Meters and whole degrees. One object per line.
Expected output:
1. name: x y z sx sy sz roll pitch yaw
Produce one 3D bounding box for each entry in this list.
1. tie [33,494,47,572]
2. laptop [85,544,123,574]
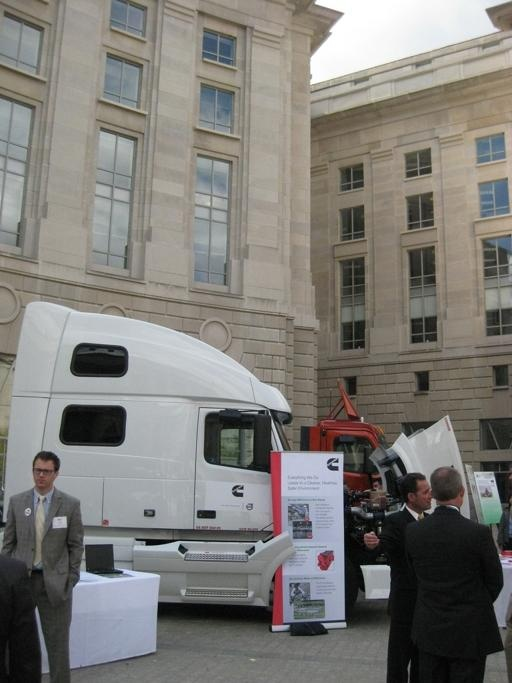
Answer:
1. tie: -1.561 1.271 4.620 0.076 0.348 0.023 2 -7 4
2. laptop: -1.609 2.212 6.662 0.371 0.352 0.314 6 -16 -33
